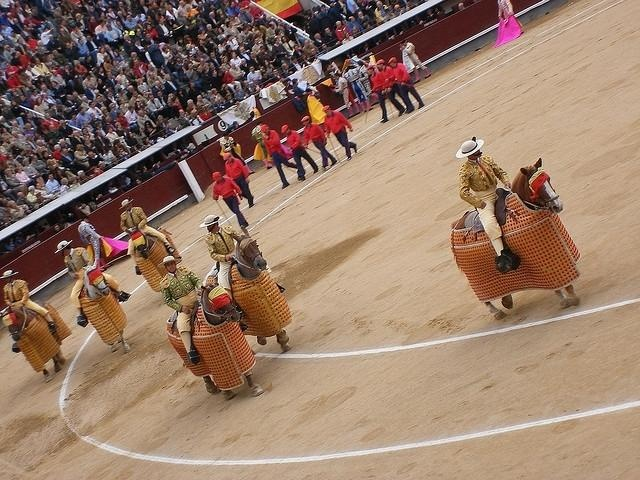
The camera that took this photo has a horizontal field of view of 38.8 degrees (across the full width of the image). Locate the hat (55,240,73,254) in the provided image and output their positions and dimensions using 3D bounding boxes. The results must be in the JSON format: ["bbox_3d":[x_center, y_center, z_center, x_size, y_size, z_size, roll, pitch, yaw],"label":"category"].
[{"bbox_3d":[-7.627,0.200,27.162,0.405,0.118,0.403,-12,14,40],"label":"hat"}]

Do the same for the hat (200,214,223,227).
[{"bbox_3d":[-2.369,-0.345,20.026,0.391,0.123,0.356,-24,24,-8],"label":"hat"}]

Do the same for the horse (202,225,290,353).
[{"bbox_3d":[-1.622,1.170,20.121,0.994,2.335,3.180,-39,34,-6],"label":"horse"}]

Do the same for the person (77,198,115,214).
[{"bbox_3d":[-8.299,-1.306,33.423,0.475,0.536,1.226,-14,17,47],"label":"person"}]

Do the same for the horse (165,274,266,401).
[{"bbox_3d":[-2.119,2.197,19.050,2.120,2.406,0.866,-20,20,34],"label":"horse"}]

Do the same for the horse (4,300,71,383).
[{"bbox_3d":[-7.556,2.561,24.105,0.957,1.856,2.924,-25,-2,5],"label":"horse"}]

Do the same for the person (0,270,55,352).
[{"bbox_3d":[-7.719,1.710,24.121,0.587,1.881,0.775,-14,24,51],"label":"person"}]

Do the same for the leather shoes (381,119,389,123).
[{"bbox_3d":[2.334,-4.401,33.383,0.181,0.088,0.527,-28,13,-7],"label":"leather shoes"}]

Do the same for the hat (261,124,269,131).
[{"bbox_3d":[-2.010,-4.104,33.044,0.380,0.169,0.509,-9,9,-2],"label":"hat"}]

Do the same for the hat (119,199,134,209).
[{"bbox_3d":[-6.339,-1.199,29.693,0.562,0.155,0.533,-28,5,-7],"label":"hat"}]

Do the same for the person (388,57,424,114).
[{"bbox_3d":[2.974,-5.714,33.038,0.751,1.475,2.231,-29,13,11],"label":"person"}]

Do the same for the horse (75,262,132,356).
[{"bbox_3d":[-5.641,1.815,23.748,1.377,2.275,0.938,-37,15,-19],"label":"horse"}]
